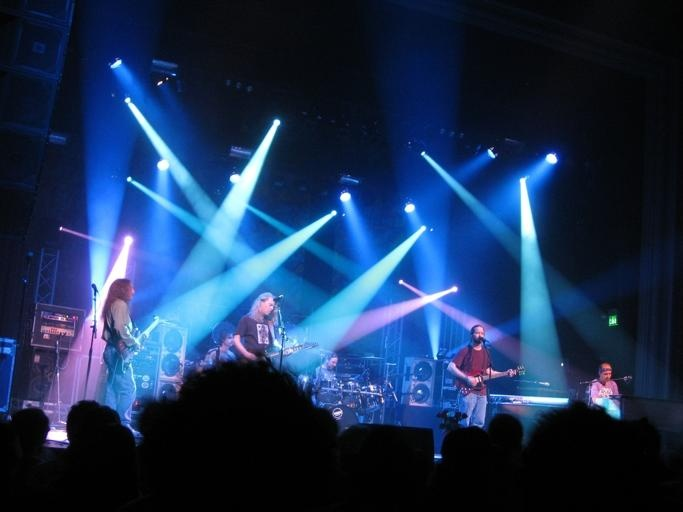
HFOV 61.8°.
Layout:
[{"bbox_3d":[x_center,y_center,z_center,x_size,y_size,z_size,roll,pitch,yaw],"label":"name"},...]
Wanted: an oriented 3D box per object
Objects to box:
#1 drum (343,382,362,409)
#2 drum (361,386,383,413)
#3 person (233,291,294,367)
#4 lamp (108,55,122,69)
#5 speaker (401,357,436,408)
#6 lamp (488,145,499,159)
[{"bbox_3d":[0.179,2.257,9.265,0.315,0.576,0.323,0,-11,0],"label":"drum"},{"bbox_3d":[0.495,2.321,9.319,0.216,0.348,0.381,-7,-9,43],"label":"drum"},{"bbox_3d":[-1.104,1.131,7.541,0.592,1.495,0.398,2,25,-27],"label":"person"},{"bbox_3d":[-3.140,-2.676,7.942,0.159,0.081,0.263,16,-23,-26],"label":"lamp"},{"bbox_3d":[1.529,2.153,10.003,0.546,0.901,0.564,-1,4,15],"label":"speaker"},{"bbox_3d":[2.490,-1.668,9.182,0.171,0.129,0.235,28,-17,31],"label":"lamp"}]
